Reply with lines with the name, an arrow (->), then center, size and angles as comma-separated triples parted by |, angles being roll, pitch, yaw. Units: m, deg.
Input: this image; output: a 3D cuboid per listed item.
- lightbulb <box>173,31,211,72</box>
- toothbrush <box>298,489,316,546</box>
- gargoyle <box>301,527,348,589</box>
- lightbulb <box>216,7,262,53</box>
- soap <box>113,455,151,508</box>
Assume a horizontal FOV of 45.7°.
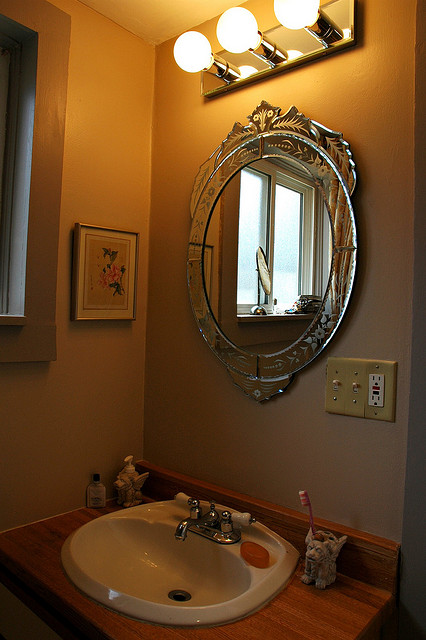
lightbulb -> -0.049, -0.660, 1.235 | 0.086, 0.091, 0.074 | 1, 3, 0
toothbrush -> 0.194, 0.405, 1.048 | 0.033, 0.108, 0.023 | -1, 16, 15
gargoyle -> 0.228, 0.485, 1.042 | 0.082, 0.111, 0.117 | 2, 3, 20
lightbulb -> 0.055, -0.642, 1.169 | 0.086, 0.101, 0.095 | 3, 1, 45
soap -> -0.241, 0.460, 1.451 | 0.084, 0.140, 0.095 | -4, 8, -20
